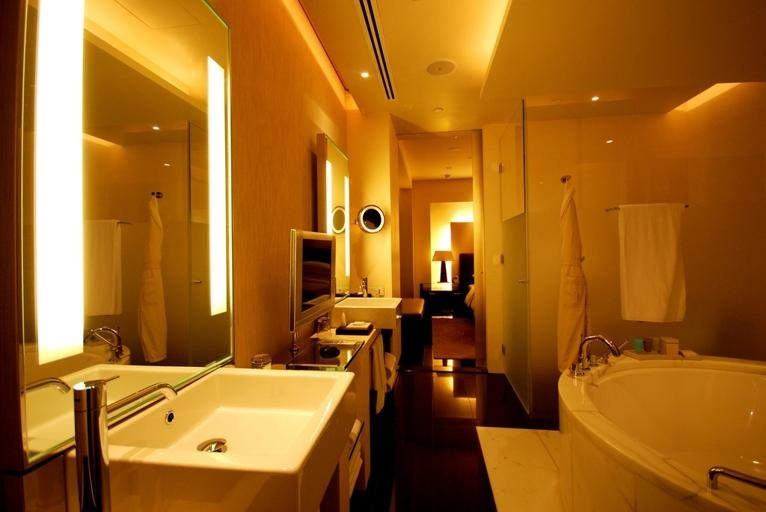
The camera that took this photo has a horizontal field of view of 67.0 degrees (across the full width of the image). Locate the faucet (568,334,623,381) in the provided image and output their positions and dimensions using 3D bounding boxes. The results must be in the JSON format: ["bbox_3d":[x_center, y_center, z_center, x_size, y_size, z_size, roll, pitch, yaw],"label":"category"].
[{"bbox_3d":[1.424,0.679,3.915,0.283,0.237,0.446,-5,2,42],"label":"faucet"}]

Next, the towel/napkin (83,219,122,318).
[{"bbox_3d":[-1.255,0.053,2.591,0.171,0.424,0.070,-6,9,-25],"label":"towel/napkin"}]

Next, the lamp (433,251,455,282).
[{"bbox_3d":[0.976,0.161,9.241,0.420,0.714,0.435,0,2,6],"label":"lamp"}]

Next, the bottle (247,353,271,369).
[{"bbox_3d":[-0.667,0.579,3.142,0.111,0.069,0.105,-2,9,0],"label":"bottle"}]

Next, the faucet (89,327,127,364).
[{"bbox_3d":[-1.236,0.399,2.605,0.110,0.152,0.168,3,-6,30],"label":"faucet"}]

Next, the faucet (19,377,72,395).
[{"bbox_3d":[-1.431,0.558,2.452,0.174,0.081,0.025,-9,11,-35],"label":"faucet"}]

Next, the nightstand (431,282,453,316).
[{"bbox_3d":[0.888,0.627,8.548,0.303,0.357,0.751,-1,9,6],"label":"nightstand"}]

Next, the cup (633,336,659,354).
[{"bbox_3d":[1.880,0.630,4.100,0.088,0.080,0.182,-1,-12,8],"label":"cup"}]

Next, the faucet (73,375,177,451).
[{"bbox_3d":[-1.156,0.624,2.521,0.407,0.271,0.262,-11,12,-44],"label":"faucet"}]

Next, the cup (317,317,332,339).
[{"bbox_3d":[-0.411,0.497,4.012,0.103,0.181,0.124,0,2,2],"label":"cup"}]
